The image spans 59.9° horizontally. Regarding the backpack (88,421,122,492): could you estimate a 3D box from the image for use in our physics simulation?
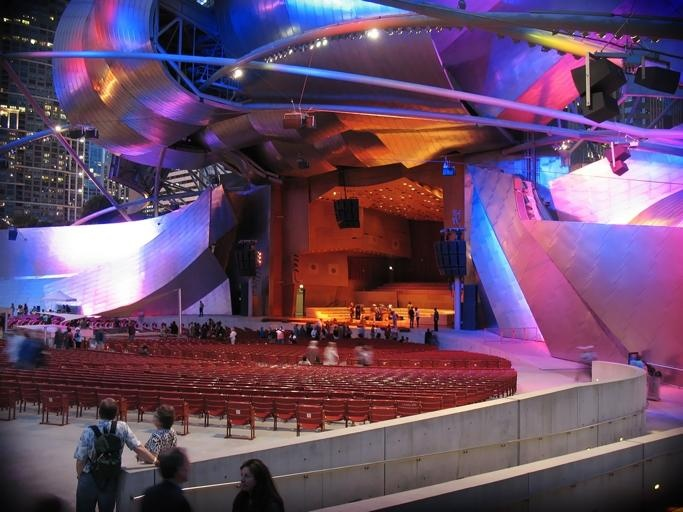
[{"bbox_3d":[-2.433,2.057,6.119,0.307,0.646,0.264,1,-5,-23],"label":"backpack"}]

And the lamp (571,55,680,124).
[{"bbox_3d":[5.112,-2.998,10.889,1.838,1.280,0.861,2,-5,-26],"label":"lamp"}]

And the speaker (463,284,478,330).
[{"bbox_3d":[6.037,2.463,28.113,0.757,2.141,0.562,-2,-4,14],"label":"speaker"}]
